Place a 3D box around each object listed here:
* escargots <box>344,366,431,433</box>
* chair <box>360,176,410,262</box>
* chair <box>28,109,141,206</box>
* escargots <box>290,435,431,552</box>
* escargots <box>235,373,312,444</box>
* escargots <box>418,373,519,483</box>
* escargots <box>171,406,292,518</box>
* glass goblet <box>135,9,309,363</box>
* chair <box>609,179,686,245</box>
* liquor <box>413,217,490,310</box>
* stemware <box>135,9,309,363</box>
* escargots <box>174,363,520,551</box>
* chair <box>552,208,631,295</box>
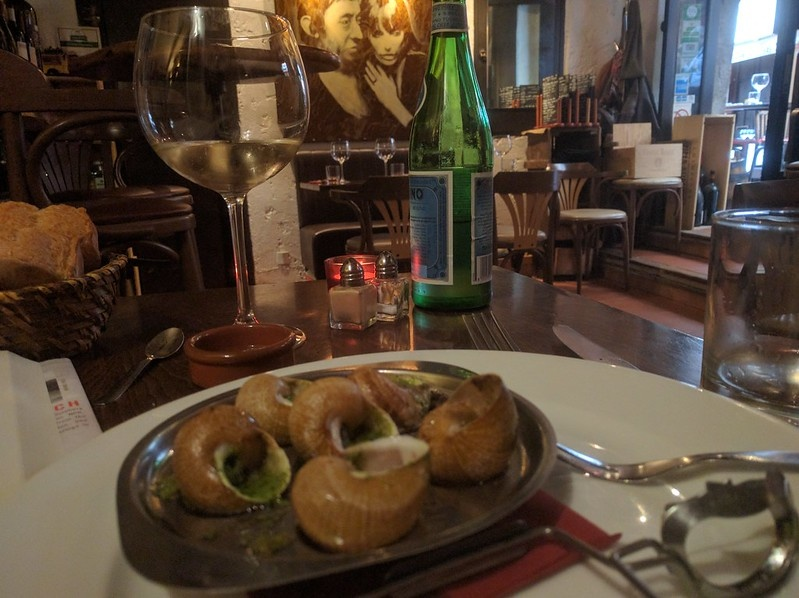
[{"bbox_3d":[-0.010,0.085,0.435,0.054,0.021,0.042,29,14,0],"label":"escargots"},{"bbox_3d":[-0.073,-0.370,2.589,0.226,0.387,0.465,-5,17,-3],"label":"chair"},{"bbox_3d":[-0.716,-0.318,1.277,0.244,0.188,0.171,-17,21,-37],"label":"chair"},{"bbox_3d":[-0.021,0.115,0.350,0.090,0.041,0.074,-9,28,-12],"label":"escargots"},{"bbox_3d":[-0.093,0.070,0.412,0.051,0.024,0.042,28,28,31],"label":"escargots"},{"bbox_3d":[0.060,0.075,0.345,0.072,0.032,0.060,-7,52,33],"label":"escargots"},{"bbox_3d":[-0.119,0.108,0.373,0.085,0.045,0.072,17,27,-32],"label":"escargots"},{"bbox_3d":[-0.200,-0.156,0.688,0.178,0.354,0.123,-2,17,6],"label":"glass goblet"},{"bbox_3d":[1.841,-0.658,4.222,0.491,0.510,0.502,10,26,35],"label":"chair"},{"bbox_3d":[0.060,-0.054,0.834,0.112,0.124,0.112,-1,14,-6],"label":"liquor"},{"bbox_3d":[-0.200,-0.156,0.688,0.178,0.354,0.123,-2,17,6],"label":"stemware"},{"bbox_3d":[-0.032,0.066,0.348,0.160,0.053,0.118,-7,20,-22],"label":"escargots"},{"bbox_3d":[1.360,-0.322,3.740,0.463,0.456,0.461,-6,9,-25],"label":"chair"}]
